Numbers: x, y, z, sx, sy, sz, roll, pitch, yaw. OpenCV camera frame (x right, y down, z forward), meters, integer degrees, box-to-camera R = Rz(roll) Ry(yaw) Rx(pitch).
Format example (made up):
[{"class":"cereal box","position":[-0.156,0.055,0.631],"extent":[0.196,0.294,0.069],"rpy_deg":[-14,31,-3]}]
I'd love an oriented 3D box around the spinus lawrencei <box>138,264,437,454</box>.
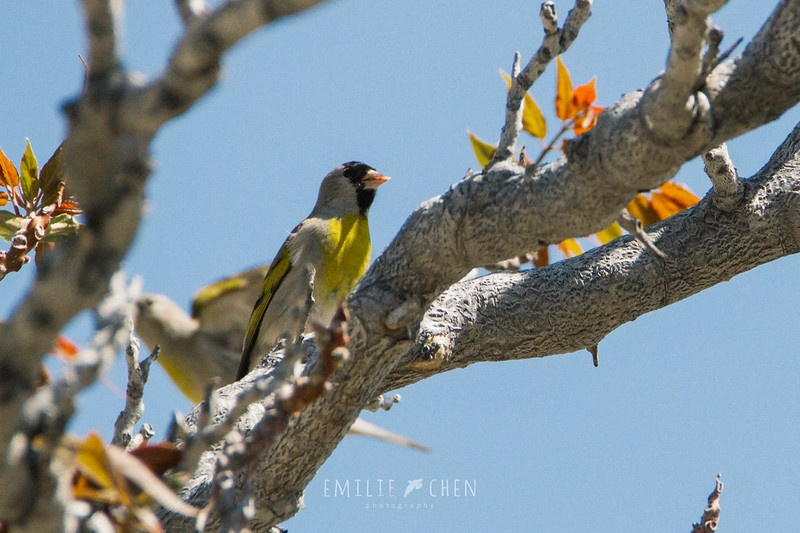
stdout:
[{"class":"spinus lawrencei","position":[-0.690,0.506,7.569],"extent":[1.379,0.554,0.804],"rpy_deg":[24,-45,-5]}]
